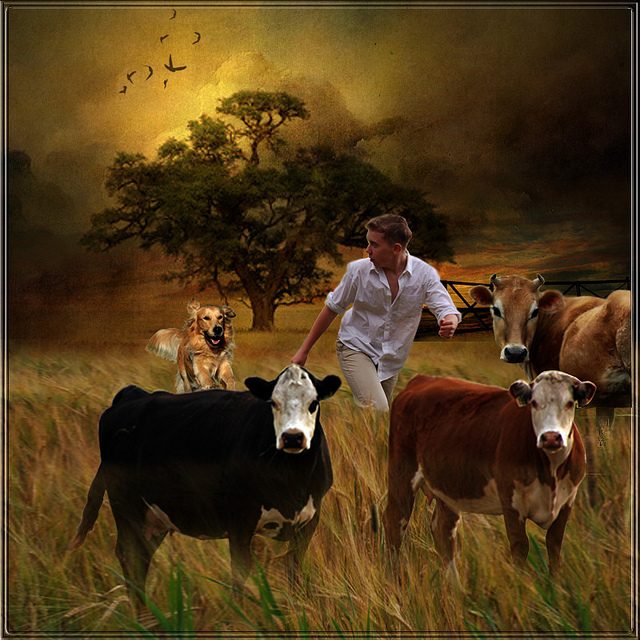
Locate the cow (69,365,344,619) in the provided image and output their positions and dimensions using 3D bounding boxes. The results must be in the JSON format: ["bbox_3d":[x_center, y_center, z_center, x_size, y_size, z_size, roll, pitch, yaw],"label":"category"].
[{"bbox_3d":[-0.664,1.029,4.530,2.096,1.531,0.749,-4,-3,38],"label":"cow"}]

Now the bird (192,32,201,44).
[{"bbox_3d":[-2.745,-6.316,17.175,0.124,0.241,0.162,6,14,37],"label":"bird"}]

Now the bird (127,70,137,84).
[{"bbox_3d":[-4.192,-5.449,17.130,0.221,0.236,0.362,-7,12,-24],"label":"bird"}]

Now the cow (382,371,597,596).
[{"bbox_3d":[0.996,1.015,4.616,0.606,1.394,1.979,0,-7,-26],"label":"cow"}]

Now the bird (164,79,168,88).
[{"bbox_3d":[-3.515,-5.440,17.608,0.077,0.140,0.248,-4,11,-10],"label":"bird"}]
